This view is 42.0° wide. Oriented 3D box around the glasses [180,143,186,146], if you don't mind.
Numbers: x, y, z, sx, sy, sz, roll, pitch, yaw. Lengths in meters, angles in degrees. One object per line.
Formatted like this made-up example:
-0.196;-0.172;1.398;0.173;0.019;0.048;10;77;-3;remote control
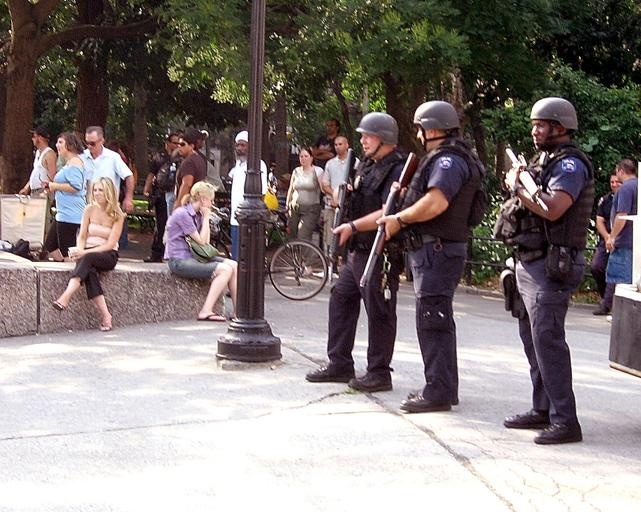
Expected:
-1.937;-1.558;11.625;0.088;0.049;0.029;5;-6;45;glasses

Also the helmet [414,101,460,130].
0.928;-1.108;6.599;0.266;0.162;0.263;-6;15;-17;helmet

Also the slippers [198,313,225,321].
-1.265;0.684;9.686;0.289;0.074;0.118;0;2;-10;slippers

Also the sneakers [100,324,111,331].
-2.329;0.767;8.996;0.058;0.070;0.172;1;-5;-12;sneakers

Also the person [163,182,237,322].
-1.425;-0.063;9.801;0.809;1.568;0.636;0;8;-11;person

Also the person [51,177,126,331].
-2.505;-0.034;9.071;0.548;1.614;0.874;2;8;7;person

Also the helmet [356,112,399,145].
0.487;-1.089;7.054;0.312;0.250;0.243;-7;14;-17;helmet

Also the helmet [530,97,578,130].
1.714;-1.046;6.131;0.302;0.184;0.235;-3;11;-14;helmet

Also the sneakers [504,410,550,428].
1.580;1.243;6.381;0.366;0.151;0.136;3;-4;-1;sneakers

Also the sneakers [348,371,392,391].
0.418;1.052;7.138;0.352;0.178;0.153;4;-1;-12;sneakers

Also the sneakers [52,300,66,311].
-2.737;0.528;8.725;0.061;0.048;0.155;-9;-49;37;sneakers

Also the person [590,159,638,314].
3.799;-0.160;10.744;0.445;2.146;1.331;4;8;18;person

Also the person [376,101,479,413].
0.879;0.014;6.549;0.771;2.433;0.511;2;8;4;person

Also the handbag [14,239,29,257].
-4.044;-0.100;11.227;0.171;0.222;0.092;19;-17;-5;handbag

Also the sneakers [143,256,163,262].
-2.893;0.058;14.329;0.318;0.129;0.159;4;-1;-12;sneakers

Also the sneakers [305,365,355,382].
0.082;1.044;7.383;0.419;0.189;0.167;3;-3;2;sneakers

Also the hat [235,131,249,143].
-1.093;-1.631;11.454;0.130;0.156;0.309;0;9;-14;hat

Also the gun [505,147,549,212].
1.429;-0.637;6.018;0.113;0.111;0.794;6;44;-23;gun

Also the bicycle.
-0.780;-0.017;12.535;2.127;1.365;1.054;3;2;6;bicycle

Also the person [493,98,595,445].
1.625;0.089;6.093;0.715;2.463;0.618;3;8;13;person

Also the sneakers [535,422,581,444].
1.717;1.277;6.050;0.356;0.155;0.135;2;-2;-10;sneakers

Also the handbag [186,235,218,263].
-1.412;-0.081;9.750;0.196;0.378;0.299;-41;-11;19;handbag
